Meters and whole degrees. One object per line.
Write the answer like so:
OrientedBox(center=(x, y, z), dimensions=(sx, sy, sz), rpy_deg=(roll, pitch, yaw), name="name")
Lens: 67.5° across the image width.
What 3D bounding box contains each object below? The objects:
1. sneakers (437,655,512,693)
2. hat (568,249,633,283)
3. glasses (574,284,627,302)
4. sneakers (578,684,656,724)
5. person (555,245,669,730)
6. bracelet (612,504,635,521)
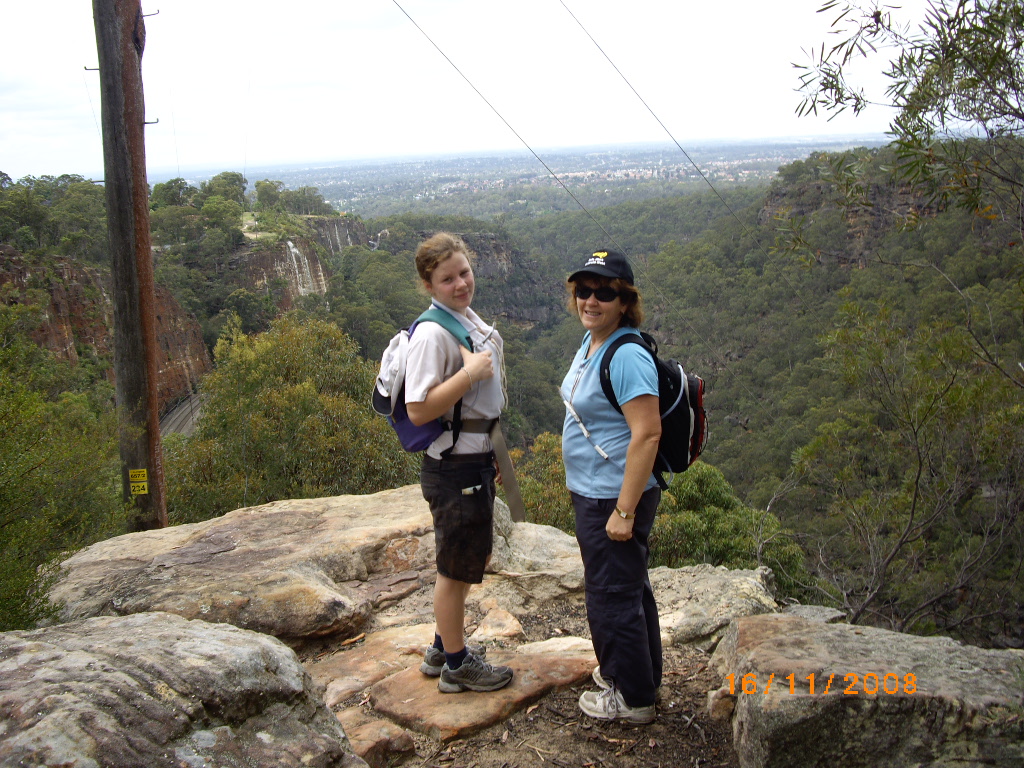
OrientedBox(center=(-0.190, 1.428, 3.842), dimensions=(0.364, 0.197, 0.154), rpy_deg=(0, 3, -8), name="sneakers")
OrientedBox(center=(0.446, -0.550, 3.642), dimensions=(0.248, 0.131, 0.172), rpy_deg=(22, -6, -31), name="hat")
OrientedBox(center=(0.410, -0.432, 3.617), dimensions=(0.218, 0.089, 0.071), rpy_deg=(-3, 10, 6), name="glasses")
OrientedBox(center=(0.514, 1.515, 3.750), dimensions=(0.349, 0.196, 0.159), rpy_deg=(7, 1, 9), name="sneakers")
OrientedBox(center=(0.492, 0.477, 3.719), dimensions=(0.473, 2.237, 0.541), rpy_deg=(-3, 10, 3), name="person")
OrientedBox(center=(0.511, 0.577, 3.491), dimensions=(0.091, 0.071, 0.043), rpy_deg=(-3, 10, 6), name="bracelet")
